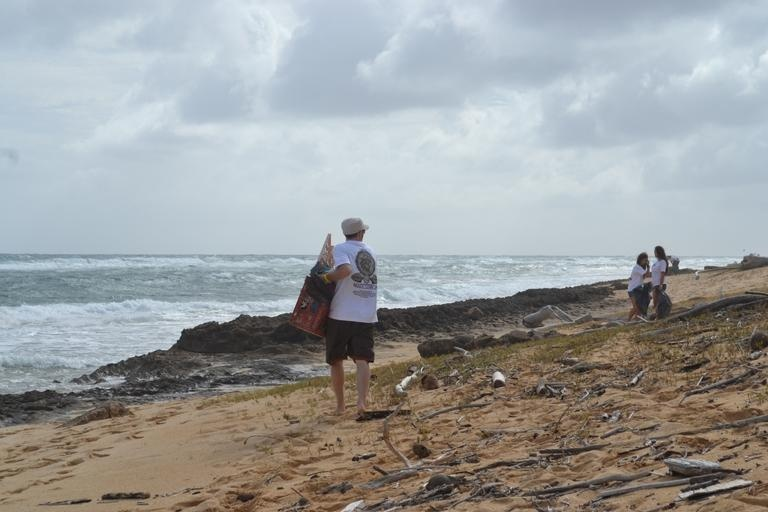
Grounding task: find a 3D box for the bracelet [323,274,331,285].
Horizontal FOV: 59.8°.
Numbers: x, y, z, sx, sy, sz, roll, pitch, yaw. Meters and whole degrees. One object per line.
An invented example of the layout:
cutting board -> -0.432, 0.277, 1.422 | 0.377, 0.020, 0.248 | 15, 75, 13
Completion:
bracelet -> -0.918, 0.370, 10.772 | 0.060, 0.145, 0.138 | -18, -6, -16
